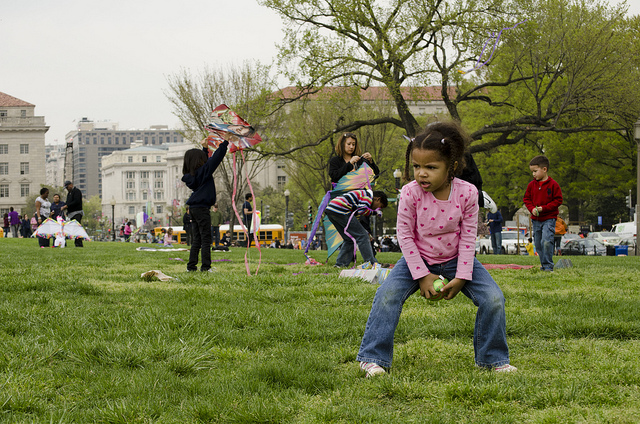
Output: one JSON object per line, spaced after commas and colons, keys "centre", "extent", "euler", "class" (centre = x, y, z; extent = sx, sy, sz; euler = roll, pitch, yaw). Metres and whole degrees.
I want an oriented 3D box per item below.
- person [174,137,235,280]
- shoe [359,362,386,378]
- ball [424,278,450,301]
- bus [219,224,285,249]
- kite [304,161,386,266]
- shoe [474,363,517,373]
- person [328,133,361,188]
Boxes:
{"centre": [-2.630, -0.098, 21.351], "extent": [0.927, 3.298, 1.295], "euler": [-4, 2, -44], "class": "person"}
{"centre": [0.900, 2.698, 15.683], "extent": [0.203, 0.181, 0.407], "euler": [-4, 0, -36], "class": "shoe"}
{"centre": [2.062, 1.318, 15.803], "extent": [0.363, 0.341, 0.422], "euler": [-15, 8, -39], "class": "ball"}
{"centre": [-4.121, 1.482, 54.671], "extent": [2.359, 2.104, 5.958], "euler": [0, 1, -27], "class": "bus"}
{"centre": [0.383, 0.084, 22.475], "extent": [1.261, 2.463, 2.105], "euler": [0, -3, -30], "class": "kite"}
{"centre": [3.050, 2.691, 15.701], "extent": [0.583, 0.206, 0.206], "euler": [-3, 0, 8], "class": "shoe"}
{"centre": [0.577, -1.225, 21.678], "extent": [0.749, 1.262, 0.739], "euler": [-1, -2, 0], "class": "person"}
